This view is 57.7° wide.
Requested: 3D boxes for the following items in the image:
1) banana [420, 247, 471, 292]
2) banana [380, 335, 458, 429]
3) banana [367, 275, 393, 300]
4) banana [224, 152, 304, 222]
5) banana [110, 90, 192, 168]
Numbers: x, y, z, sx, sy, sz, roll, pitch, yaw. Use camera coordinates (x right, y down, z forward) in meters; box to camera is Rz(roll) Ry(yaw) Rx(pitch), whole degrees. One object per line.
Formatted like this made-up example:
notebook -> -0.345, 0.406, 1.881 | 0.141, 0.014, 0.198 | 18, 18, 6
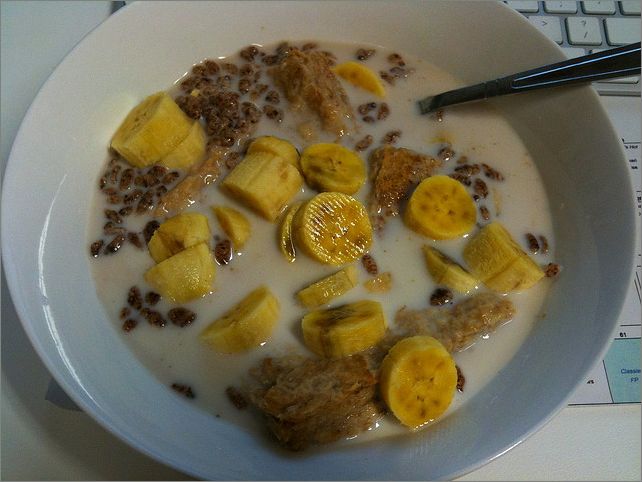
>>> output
banana -> 0.315, 0.071, 1.464 | 0.025, 0.105, 0.106 | -41, 86, 21
banana -> 0.228, 0.323, 1.354 | 0.178, 0.037, 0.188 | -29, 87, -2
banana -> 0.148, 0.112, 1.464 | 0.070, 0.020, 0.037 | -26, 79, -10
banana -> -0.157, -0.133, 1.555 | 0.175, 0.093, 0.183 | 41, 69, -4
banana -> -0.406, -0.282, 1.538 | 0.055, 0.205, 0.196 | 46, 56, -28
